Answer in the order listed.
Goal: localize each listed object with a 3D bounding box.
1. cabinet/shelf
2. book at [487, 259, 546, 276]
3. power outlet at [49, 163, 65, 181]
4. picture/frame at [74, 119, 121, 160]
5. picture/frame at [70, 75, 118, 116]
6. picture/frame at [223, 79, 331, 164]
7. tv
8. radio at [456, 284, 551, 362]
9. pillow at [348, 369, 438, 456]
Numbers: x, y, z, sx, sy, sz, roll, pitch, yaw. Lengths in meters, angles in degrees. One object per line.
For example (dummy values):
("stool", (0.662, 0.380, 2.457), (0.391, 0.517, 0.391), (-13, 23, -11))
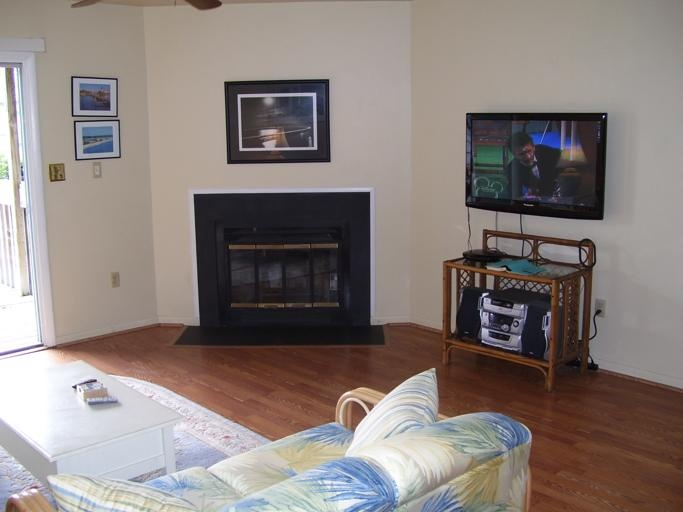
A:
("cabinet/shelf", (1.339, 0.374, 4.183), (0.558, 1.001, 0.979), (-8, 11, -38))
("book", (1.291, 0.075, 3.953), (0.389, 0.057, 0.249), (9, 17, 37))
("power outlet", (-2.412, -0.711, 4.552), (0.016, 0.140, 0.158), (3, 3, 42))
("picture/frame", (-2.150, -1.026, 4.701), (0.365, 0.341, 0.023), (-7, 13, -39))
("picture/frame", (-2.150, -1.390, 4.644), (0.386, 0.321, 0.016), (-5, 9, -35))
("picture/frame", (-0.535, -1.219, 4.735), (0.717, 0.565, 0.036), (-1, 9, 1))
("tv", (1.468, -0.682, 3.963), (0.833, 0.605, 0.061), (11, 18, 40))
("radio", (1.223, 0.475, 4.015), (0.720, 0.423, 0.250), (9, 17, 36))
("pillow", (0.219, 0.526, 1.944), (0.399, 0.246, 0.129), (-30, -16, 29))
